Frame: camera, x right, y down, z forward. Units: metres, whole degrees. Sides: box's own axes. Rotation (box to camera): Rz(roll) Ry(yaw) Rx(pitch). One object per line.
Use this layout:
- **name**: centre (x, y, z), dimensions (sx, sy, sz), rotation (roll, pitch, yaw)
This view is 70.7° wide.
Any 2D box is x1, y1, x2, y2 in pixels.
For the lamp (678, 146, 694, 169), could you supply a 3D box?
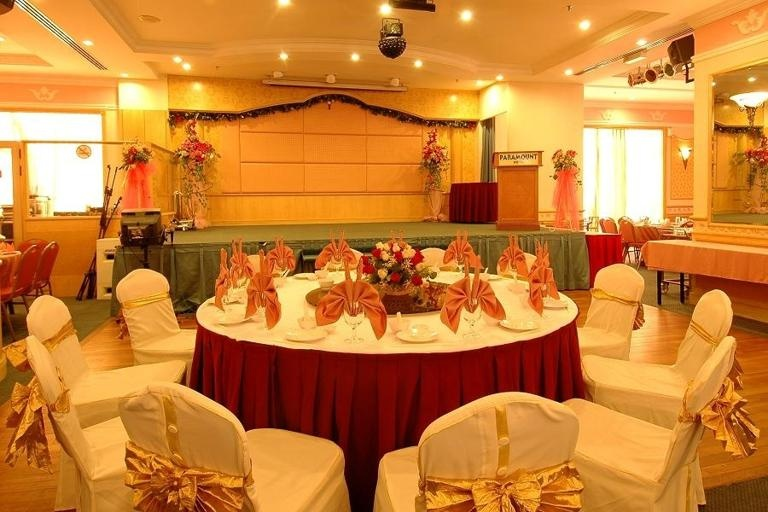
- **lamp**: centre (8.010, -2.679, 14.447), dimensions (0.352, 0.619, 0.125), rotation (-4, 8, -21)

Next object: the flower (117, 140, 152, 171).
- **flower**: centre (-3.892, -1.606, 8.554), dimensions (0.480, 0.432, 0.313), rotation (-2, 7, -9)

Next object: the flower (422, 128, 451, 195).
- **flower**: centre (1.149, -2.150, 11.887), dimensions (0.641, 1.386, 0.799), rotation (-1, 7, 2)

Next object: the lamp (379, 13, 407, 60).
- **lamp**: centre (0.103, -2.940, 7.192), dimensions (0.304, 0.500, 0.372), rotation (-2, 7, -4)

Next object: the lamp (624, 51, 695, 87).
- **lamp**: centre (4.809, -3.275, 9.653), dimensions (1.205, 0.496, 1.221), rotation (-8, 3, 24)

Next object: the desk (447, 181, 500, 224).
- **desk**: centre (1.928, -1.093, 11.705), dimensions (1.086, 0.901, 1.175), rotation (3, -5, -19)

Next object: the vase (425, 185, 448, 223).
- **vase**: centre (1.179, -1.180, 12.081), dimensions (0.577, 1.027, 0.628), rotation (0, 2, 2)

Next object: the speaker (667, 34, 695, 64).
- **speaker**: centre (4.618, -3.234, 8.451), dimensions (0.382, 0.416, 0.460), rotation (-4, 6, 12)

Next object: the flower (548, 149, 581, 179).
- **flower**: centre (3.416, -1.795, 10.247), dimensions (0.408, 0.605, 1.503), rotation (1, 7, 18)

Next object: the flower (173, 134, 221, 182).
- **flower**: centre (-3.523, -1.933, 10.411), dimensions (0.826, 0.977, 0.868), rotation (-1, 13, 5)
